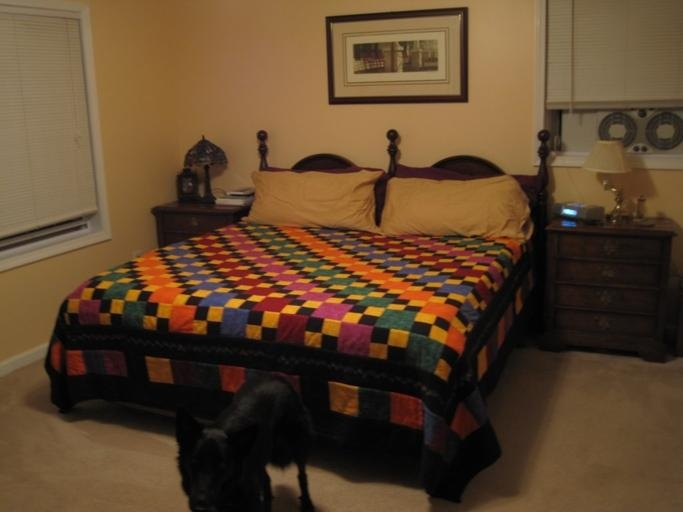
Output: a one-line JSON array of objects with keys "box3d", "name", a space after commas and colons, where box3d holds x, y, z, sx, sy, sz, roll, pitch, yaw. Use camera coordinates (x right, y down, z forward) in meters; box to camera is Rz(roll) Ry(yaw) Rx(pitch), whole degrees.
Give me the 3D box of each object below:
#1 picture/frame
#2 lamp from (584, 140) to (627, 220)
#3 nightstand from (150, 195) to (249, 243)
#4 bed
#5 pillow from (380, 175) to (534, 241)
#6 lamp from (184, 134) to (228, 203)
[{"box3d": [0.488, -1.613, 4.506, 0.839, 0.497, 0.020, 3, 13, 18], "name": "picture/frame"}, {"box3d": [1.907, -0.562, 4.082, 0.291, 0.535, 0.425, 9, 20, 25], "name": "lamp"}, {"box3d": [-1.228, -0.316, 4.914, 0.527, 0.648, 0.452, 2, 12, 11], "name": "nightstand"}, {"box3d": [0.023, 0.188, 3.596, 1.863, 1.086, 1.892, 6, 18, 22], "name": "bed"}, {"box3d": [0.804, -0.348, 4.069, 0.787, 0.262, 0.562, 0, 44, 17], "name": "pillow"}, {"box3d": [-1.218, -0.810, 5.053, 0.360, 0.535, 0.354, -5, 16, -11], "name": "lamp"}]
